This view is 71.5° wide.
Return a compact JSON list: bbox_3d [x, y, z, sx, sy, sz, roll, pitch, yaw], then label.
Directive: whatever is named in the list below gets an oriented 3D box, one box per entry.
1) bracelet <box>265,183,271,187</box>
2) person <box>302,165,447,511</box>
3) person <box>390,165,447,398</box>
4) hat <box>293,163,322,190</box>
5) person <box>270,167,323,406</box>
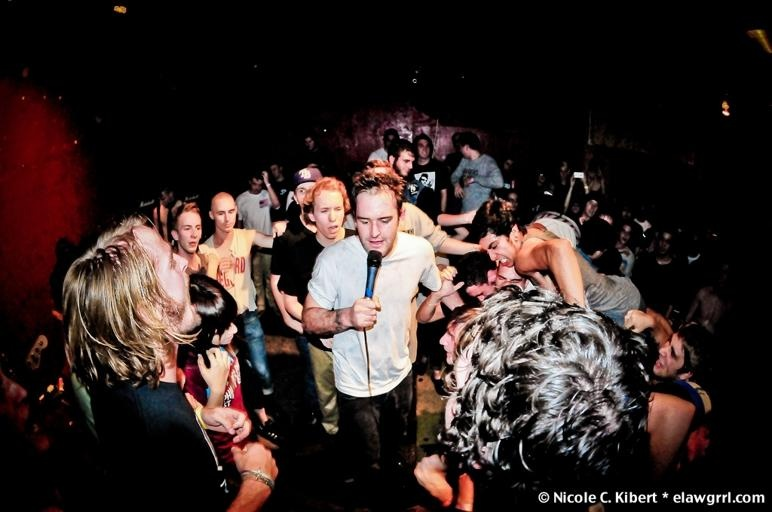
[{"bbox_3d":[-1.633,-0.996,7.450,0.045,0.033,0.044,19,39,-6],"label":"bracelet"},{"bbox_3d":[-0.090,0.799,4.707,0.738,3.037,1.155,12,16,35],"label":"person"},{"bbox_3d":[0.391,0.144,5.396,0.622,1.600,1.185,2,-16,-10],"label":"person"},{"bbox_3d":[-0.942,-0.857,6.199,0.317,0.160,0.434,-21,5,-23],"label":"hat"},{"bbox_3d":[-0.897,0.082,5.403,0.683,1.858,0.543,-6,26,-17],"label":"person"}]
